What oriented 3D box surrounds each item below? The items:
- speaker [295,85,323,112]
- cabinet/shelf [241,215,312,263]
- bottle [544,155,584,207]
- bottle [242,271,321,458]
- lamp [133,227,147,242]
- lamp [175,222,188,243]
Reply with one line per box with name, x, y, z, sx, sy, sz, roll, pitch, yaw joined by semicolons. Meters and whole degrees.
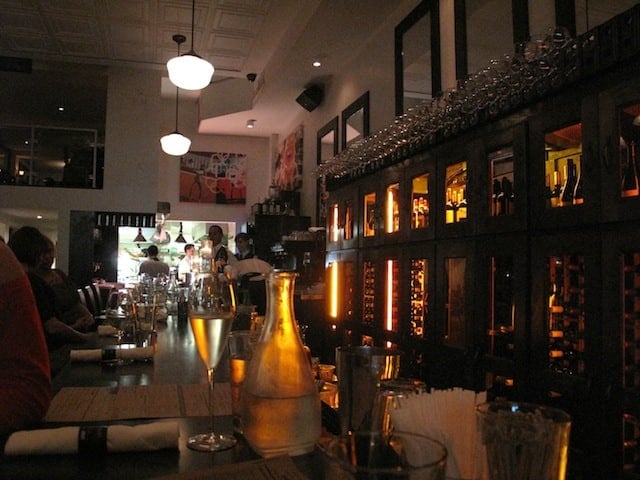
speaker;-0.141;-2.102;8.201;0.330;0.245;0.550;5;-6;-15
cabinet/shelf;-0.765;0.246;9.448;0.707;1.346;1.361;3;-7;-19
bottle;1.212;-0.288;2.677;0.111;0.271;0.255;4;-5;-9
bottle;-0.086;0.304;1.363;0.189;0.450;0.058;4;-5;-8
lamp;-3.737;-0.106;11.347;0.269;0.281;0.275;1;-5;2
lamp;-3.066;-0.165;12.157;0.207;0.539;1.567;5;-6;-14
